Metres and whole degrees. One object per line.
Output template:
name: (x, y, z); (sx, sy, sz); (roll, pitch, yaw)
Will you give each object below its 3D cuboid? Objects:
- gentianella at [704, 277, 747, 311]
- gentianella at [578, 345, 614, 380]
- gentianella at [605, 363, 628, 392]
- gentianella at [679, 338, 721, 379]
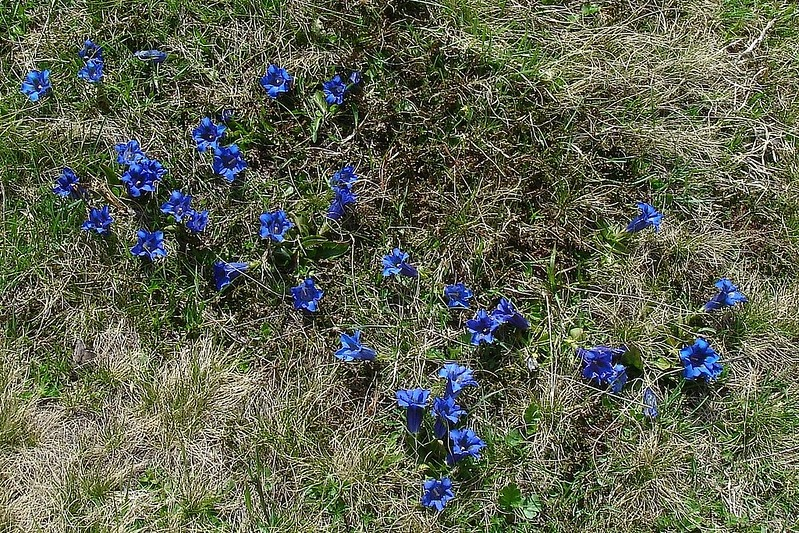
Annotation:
gentianella: (2.194, 0.182, 5.170); (0.323, 0.233, 0.194); (-13, 84, -1)
gentianella: (1.319, 0.651, 5.123); (0.247, 0.189, 0.227); (-1, 84, 0)
gentianella: (1.466, 0.736, 5.104); (0.160, 0.073, 0.160); (-45, 99, -7)
gentianella: (1.977, 0.591, 5.072); (0.252, 0.118, 0.270); (14, 93, 15)
